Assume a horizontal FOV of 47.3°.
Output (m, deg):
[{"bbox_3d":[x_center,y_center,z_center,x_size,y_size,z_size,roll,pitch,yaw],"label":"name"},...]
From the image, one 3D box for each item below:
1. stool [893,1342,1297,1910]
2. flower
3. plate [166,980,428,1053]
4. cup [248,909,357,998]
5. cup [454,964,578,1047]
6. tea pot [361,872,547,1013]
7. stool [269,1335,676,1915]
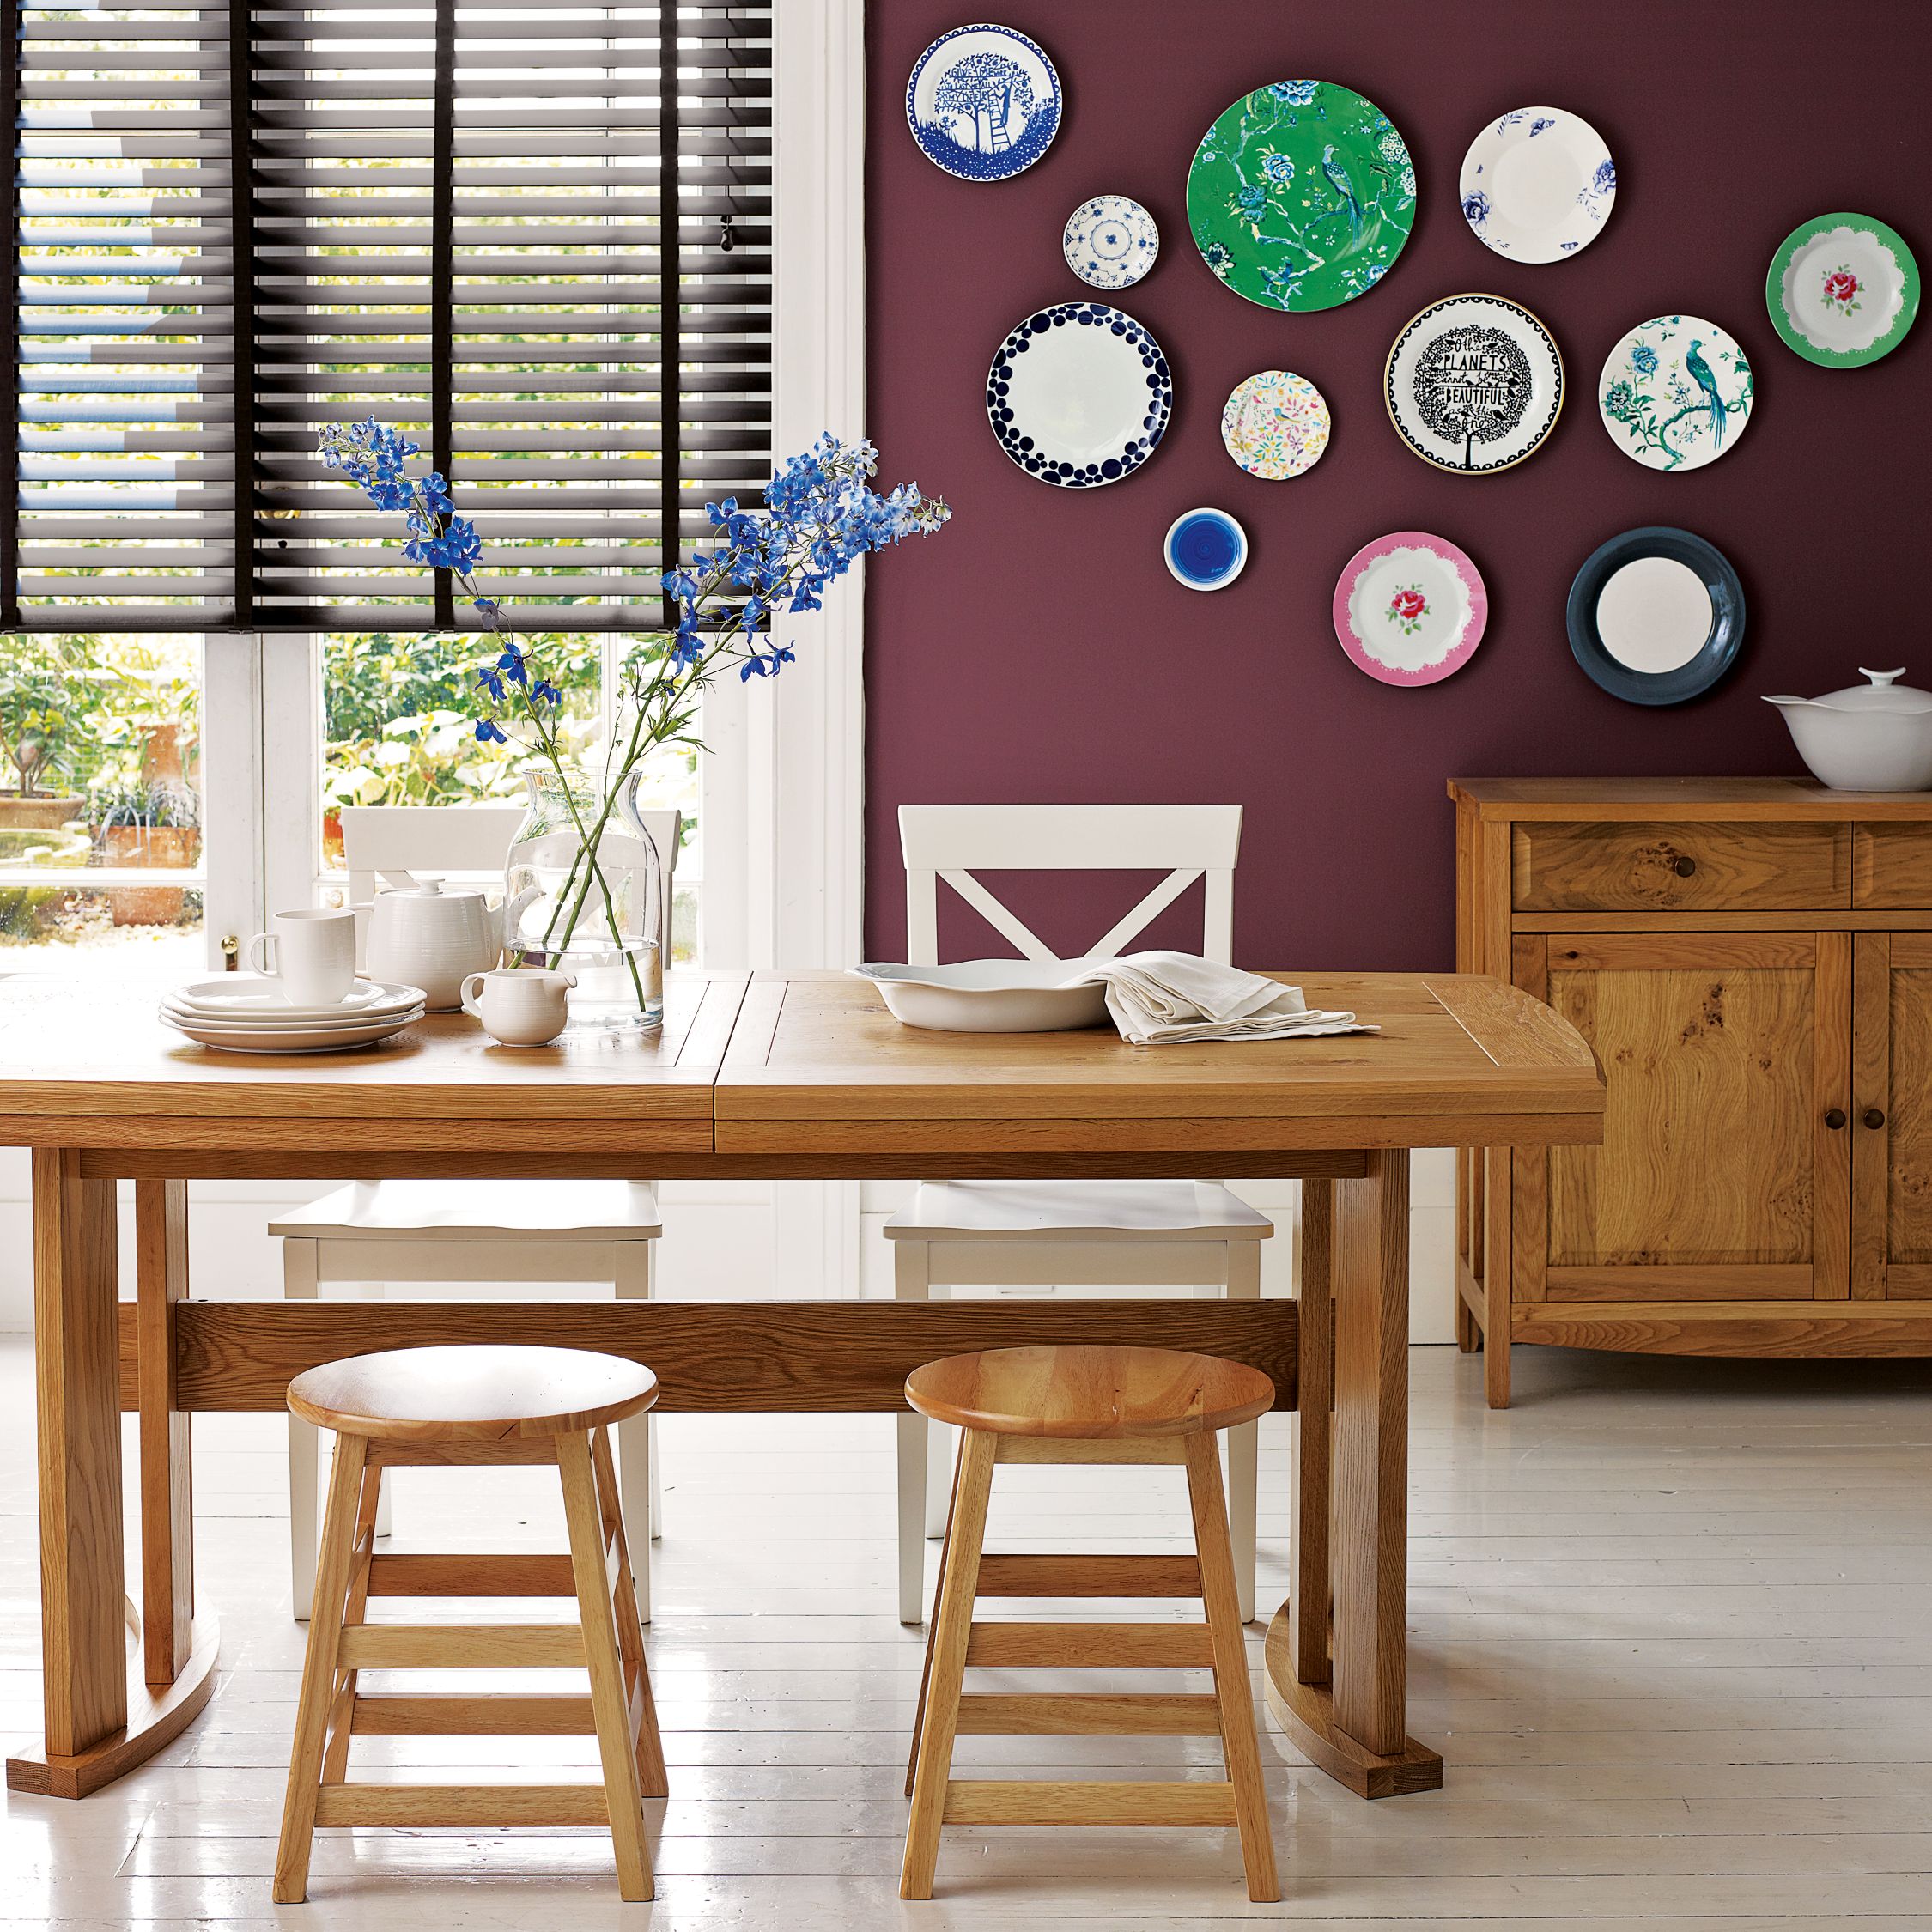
[{"bbox_3d":[0.116,0.595,2.103,0.360,0.493,0.472,0,8,4],"label":"stool"},{"bbox_3d":[-0.466,-0.400,3.163,1.225,0.986,0.358,1,-3,-4],"label":"flower"},{"bbox_3d":[-0.644,0.048,2.125,0.251,0.057,0.186,-5,8,-35],"label":"plate"},{"bbox_3d":[-0.638,-0.010,2.162,0.123,0.088,0.075,-5,9,-37],"label":"cup"},{"bbox_3d":[-0.451,0.039,2.144,0.142,0.071,0.072,5,9,37],"label":"cup"},{"bbox_3d":[-0.551,-0.035,2.371,0.261,0.142,0.152,1,7,10],"label":"tea pot"},{"bbox_3d":[-0.426,0.591,2.083,0.524,0.547,0.477,0,-6,-1],"label":"stool"}]
